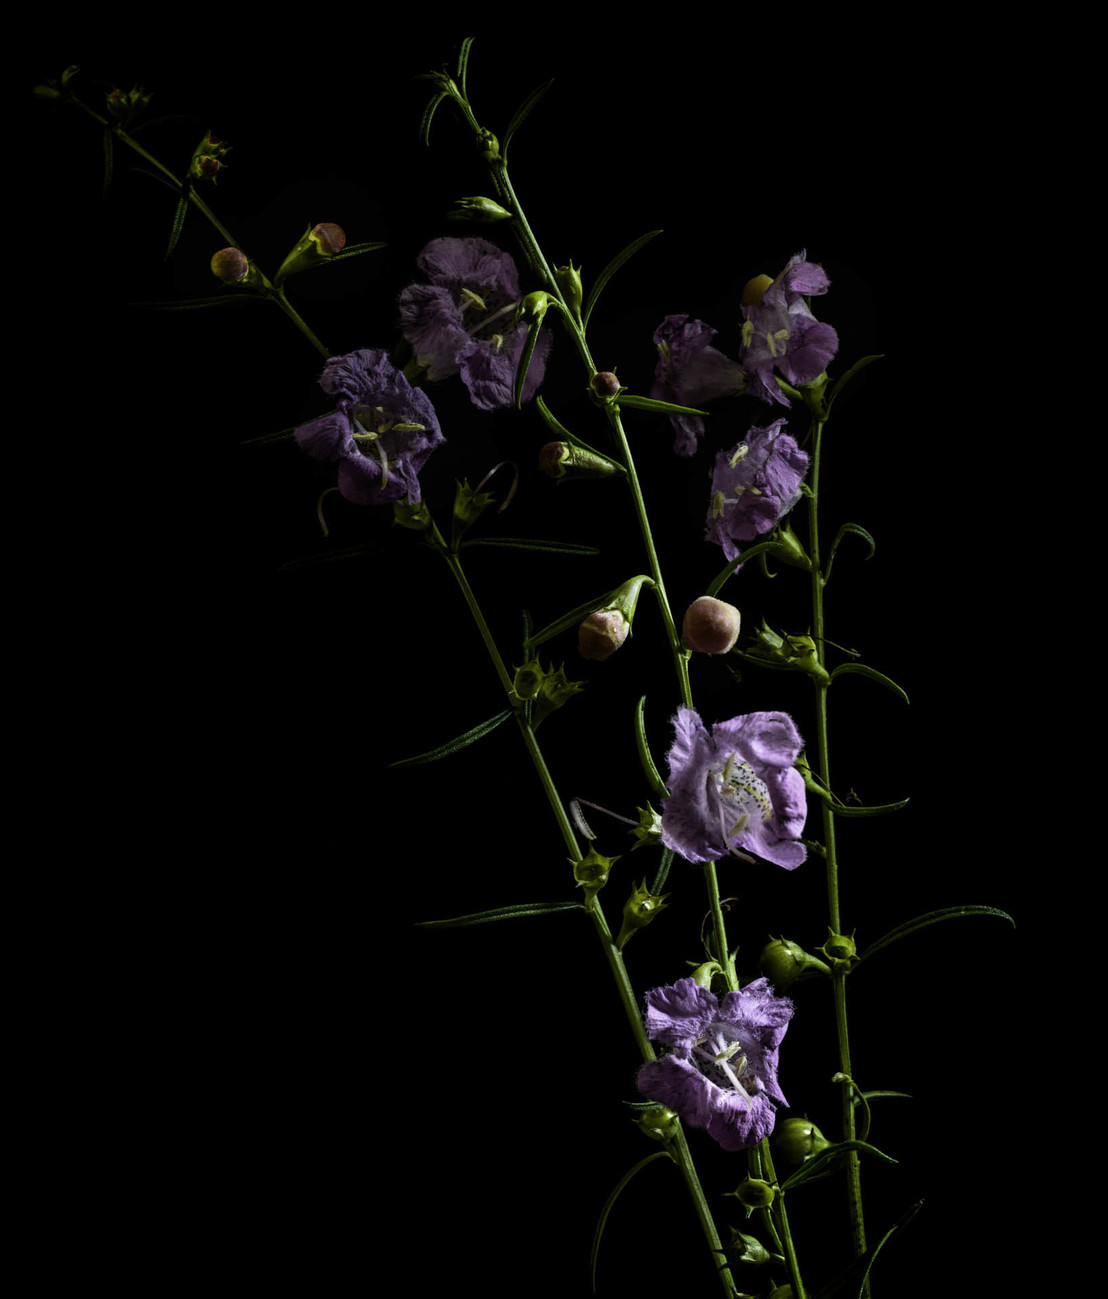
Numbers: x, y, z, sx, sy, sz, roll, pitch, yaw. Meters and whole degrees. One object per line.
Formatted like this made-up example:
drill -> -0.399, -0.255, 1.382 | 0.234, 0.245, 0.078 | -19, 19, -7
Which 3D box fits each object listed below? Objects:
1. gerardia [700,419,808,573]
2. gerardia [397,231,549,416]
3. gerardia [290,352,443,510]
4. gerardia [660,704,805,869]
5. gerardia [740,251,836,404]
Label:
gerardia -> 0.179, -0.126, 1.296 | 0.037, 0.102, 0.093 | 25, -24, -23
gerardia -> -0.075, -0.290, 1.361 | 0.111, 0.139, 0.069 | -1, -16, 11
gerardia -> -0.151, -0.186, 1.299 | 0.125, 0.123, 0.057 | 53, -22, -26
gerardia -> 0.149, 0.107, 1.259 | 0.123, 0.144, 0.102 | 2, -16, 0
gerardia -> 0.192, -0.265, 1.302 | 0.057, 0.105, 0.096 | 8, -17, -19
